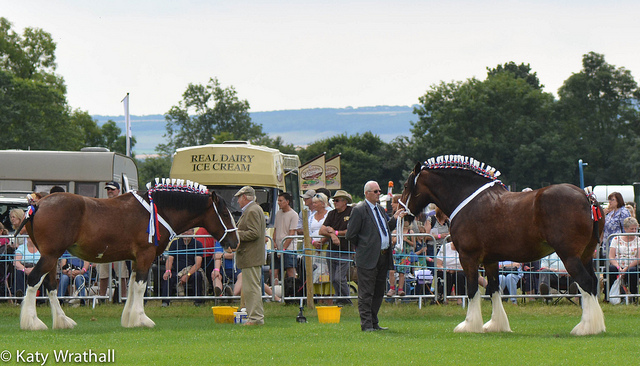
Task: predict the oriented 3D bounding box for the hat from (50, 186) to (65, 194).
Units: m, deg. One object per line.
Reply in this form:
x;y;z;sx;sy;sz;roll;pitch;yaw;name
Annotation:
-10.778;0.208;49.254;0.461;0.102;0.440;4;10;-21;hat

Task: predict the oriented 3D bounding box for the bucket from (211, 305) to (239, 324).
-3.726;5.228;47.799;0.999;0.663;0.380;-1;-7;-4;bucket

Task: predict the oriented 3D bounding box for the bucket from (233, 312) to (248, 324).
-3.068;5.317;47.558;0.603;0.444;0.301;0;-1;15;bucket

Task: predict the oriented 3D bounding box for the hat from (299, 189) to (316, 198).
-0.404;0.396;51.518;0.580;0.374;0.561;-1;-7;1;hat

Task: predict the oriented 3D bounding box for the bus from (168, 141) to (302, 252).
-3.716;-0.311;56.110;4.780;3.124;6.009;0;-6;8;bus

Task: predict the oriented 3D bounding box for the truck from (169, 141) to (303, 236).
-4.010;0.829;57.983;5.776;4.942;9.589;1;1;6;truck

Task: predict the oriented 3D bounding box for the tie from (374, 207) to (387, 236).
2.408;1.458;46.395;0.269;1.151;0.119;-18;-15;-30;tie
